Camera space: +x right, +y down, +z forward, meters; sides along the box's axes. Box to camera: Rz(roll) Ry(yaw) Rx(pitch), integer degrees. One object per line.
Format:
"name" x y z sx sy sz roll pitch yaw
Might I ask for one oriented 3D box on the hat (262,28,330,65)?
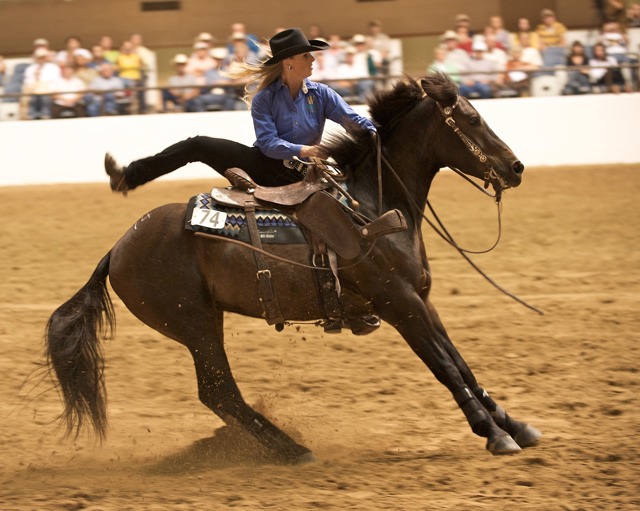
"hat" -0.256 -1.787 9.135 0.634 0.218 0.680 -18 6 -5

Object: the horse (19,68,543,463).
"horse" -0.370 0.208 10.358 7.653 3.197 1.710 -2 -2 3
